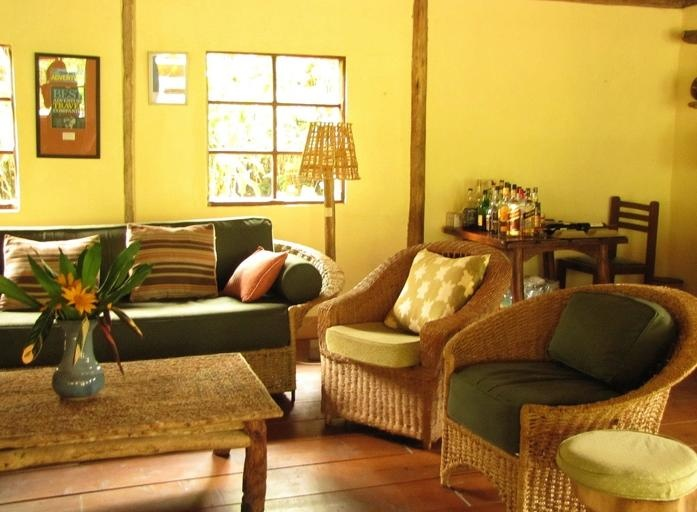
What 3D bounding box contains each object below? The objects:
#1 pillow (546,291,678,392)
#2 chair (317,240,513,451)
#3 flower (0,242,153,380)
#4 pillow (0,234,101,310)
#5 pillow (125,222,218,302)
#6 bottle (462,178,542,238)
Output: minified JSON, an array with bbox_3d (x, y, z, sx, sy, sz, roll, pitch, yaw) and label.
[{"bbox_3d":[1.111,0.341,2.370,0.316,0.391,0.423,26,2,-38],"label":"pillow"},{"bbox_3d":[0.389,0.484,3.276,0.928,0.994,0.949,-7,8,-44],"label":"chair"},{"bbox_3d":[-1.211,0.245,2.474,0.661,0.515,0.699,10,-13,-29],"label":"flower"},{"bbox_3d":[-1.514,0.086,2.779,0.481,0.370,0.176,-1,-1,-6],"label":"pillow"},{"bbox_3d":[-1.119,0.055,3.507,0.509,0.413,0.189,-1,-30,-18],"label":"pillow"},{"bbox_3d":[1.185,-0.368,4.355,0.150,0.292,0.544,1,3,-22],"label":"bottle"}]
